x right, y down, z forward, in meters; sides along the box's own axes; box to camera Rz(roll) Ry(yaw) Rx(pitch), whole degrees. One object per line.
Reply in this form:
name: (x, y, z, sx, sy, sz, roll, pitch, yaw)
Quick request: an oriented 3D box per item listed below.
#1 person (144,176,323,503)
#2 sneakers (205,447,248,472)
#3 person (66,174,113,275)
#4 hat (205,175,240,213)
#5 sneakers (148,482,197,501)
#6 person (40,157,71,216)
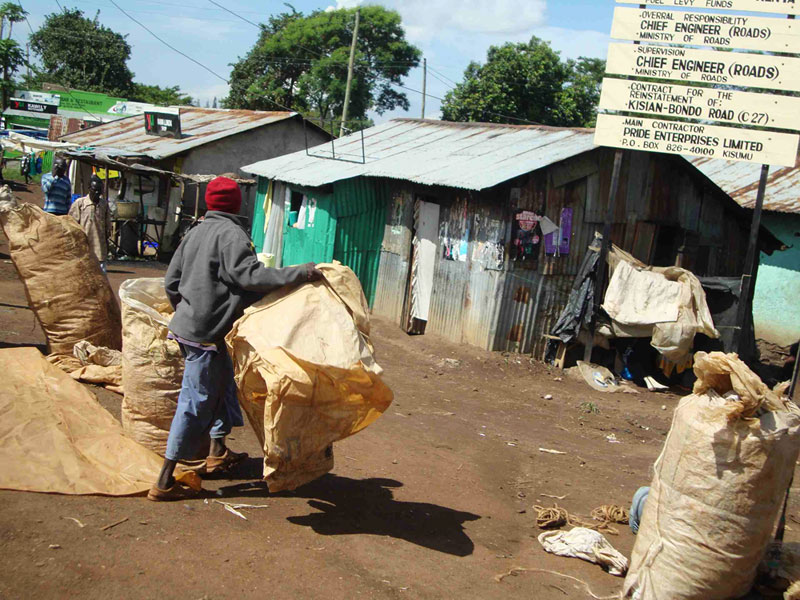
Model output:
person: (-1.272, 0.260, 5.244, 0.956, 2.341, 0.763, 5, 7, -17)
sneakers: (-1.365, 1.283, 5.605, 0.369, 0.160, 0.125, -13, 31, -36)
person: (-4.520, -1.125, 10.303, 0.548, 1.363, 1.195, 4, 6, -23)
hat: (-1.392, -0.809, 5.394, 0.252, 0.260, 0.316, 6, 20, 5)
sneakers: (-1.619, 1.368, 5.070, 0.335, 0.120, 0.119, -2, 11, -24)
person: (-5.303, -1.750, 10.950, 0.388, 0.868, 1.048, 4, 6, -26)
